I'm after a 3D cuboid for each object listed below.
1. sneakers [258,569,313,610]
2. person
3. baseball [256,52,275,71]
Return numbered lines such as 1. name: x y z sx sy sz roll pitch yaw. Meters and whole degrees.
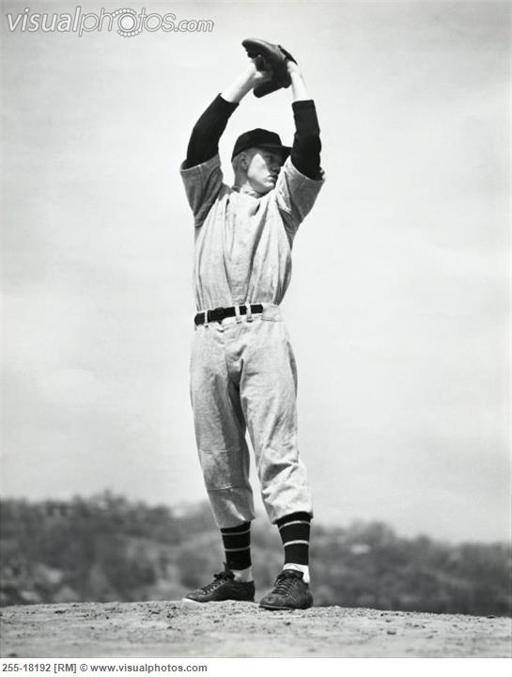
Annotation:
1. sneakers: 0.185 1.332 8.689 0.375 0.220 0.170 9 -8 -44
2. person: -0.038 -0.100 9.068 0.878 3.128 0.577 2 -6 17
3. baseball: 0.030 -1.558 9.157 0.065 0.093 0.024 1 16 7
